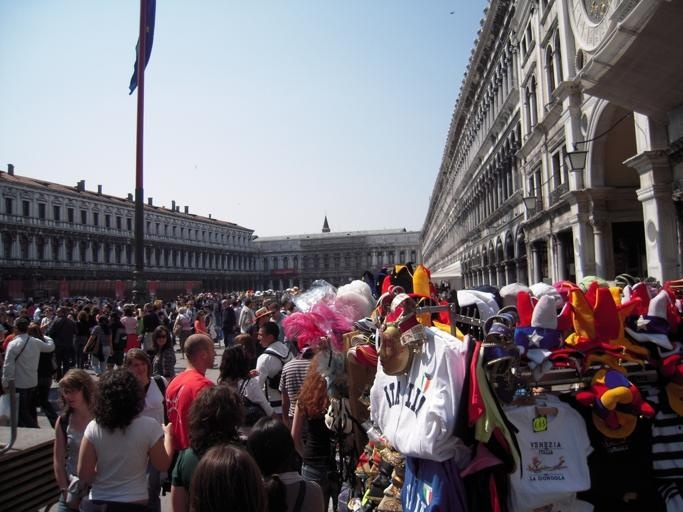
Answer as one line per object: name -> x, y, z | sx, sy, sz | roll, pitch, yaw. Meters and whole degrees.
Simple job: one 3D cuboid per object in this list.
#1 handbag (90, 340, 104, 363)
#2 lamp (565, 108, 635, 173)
handbag -> -5.341, 2.127, 12.487 | 0.245, 0.414, 0.368 | -1, -2, 5
lamp -> 5.984, -2.551, 13.550 | 1.231, 1.208, 1.756 | -6, -13, 26
